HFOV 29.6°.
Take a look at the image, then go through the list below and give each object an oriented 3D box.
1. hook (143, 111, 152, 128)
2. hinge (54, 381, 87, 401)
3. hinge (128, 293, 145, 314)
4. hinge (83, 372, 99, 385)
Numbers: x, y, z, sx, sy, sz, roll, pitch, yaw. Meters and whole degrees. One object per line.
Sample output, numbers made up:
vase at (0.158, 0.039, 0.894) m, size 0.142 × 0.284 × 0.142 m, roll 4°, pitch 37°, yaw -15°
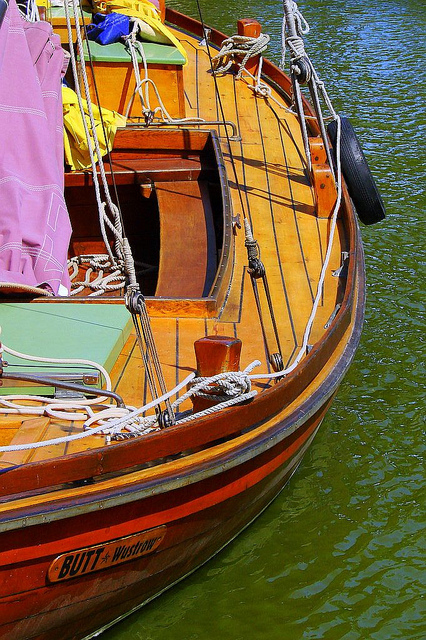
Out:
hook at (-0.430, -1.306, 5.275) m, size 0.048 × 0.114 × 0.035 m, roll 32°, pitch 66°, yaw 6°
hinge at (-0.558, 0.285, 3.145) m, size 0.093 × 0.050 × 0.085 m, roll 1°, pitch -10°, yaw -2°
hinge at (-0.285, -0.059, 2.933) m, size 0.055 × 0.089 × 0.106 m, roll 1°, pitch 28°, yaw -6°
hinge at (-0.473, 0.228, 3.125) m, size 0.076 × 0.043 × 0.038 m, roll 1°, pitch 12°, yaw -2°
